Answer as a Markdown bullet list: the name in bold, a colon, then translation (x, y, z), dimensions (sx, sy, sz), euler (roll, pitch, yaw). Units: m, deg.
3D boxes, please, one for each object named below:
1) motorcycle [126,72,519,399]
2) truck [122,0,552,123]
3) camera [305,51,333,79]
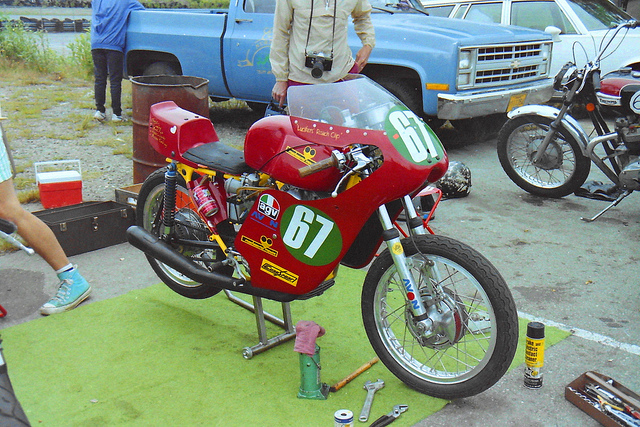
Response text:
- **motorcycle**: translation (0.018, 0.079, 3.692), dimensions (2.899, 1.933, 0.786), euler (19, 30, 22)
- **truck**: translation (0.200, -2.523, 8.400), dimensions (5.242, 2.087, 3.030), euler (10, 20, 30)
- **camera**: translation (-0.016, -1.439, 5.045), dimensions (0.313, 0.198, 0.231), euler (11, 40, -10)
